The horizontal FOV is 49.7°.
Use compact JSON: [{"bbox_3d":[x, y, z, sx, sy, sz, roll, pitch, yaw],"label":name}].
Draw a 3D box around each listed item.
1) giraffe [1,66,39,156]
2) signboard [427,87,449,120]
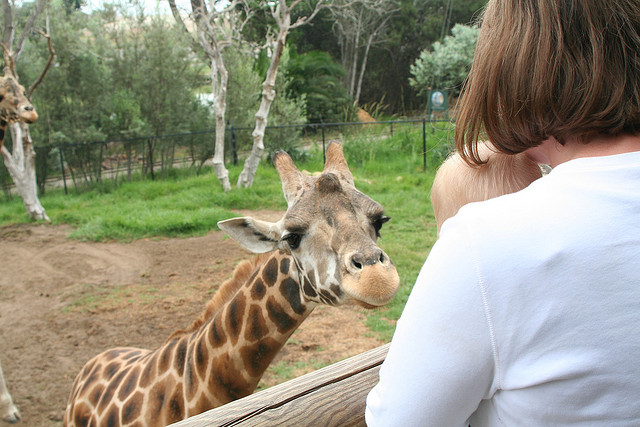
[{"bbox_3d":[-3.556,-1.292,8.149,0.421,0.863,0.319,-5,13,-15],"label":"giraffe"},{"bbox_3d":[1.893,-1.744,11.021,0.334,0.653,0.080,2,32,14],"label":"signboard"}]
